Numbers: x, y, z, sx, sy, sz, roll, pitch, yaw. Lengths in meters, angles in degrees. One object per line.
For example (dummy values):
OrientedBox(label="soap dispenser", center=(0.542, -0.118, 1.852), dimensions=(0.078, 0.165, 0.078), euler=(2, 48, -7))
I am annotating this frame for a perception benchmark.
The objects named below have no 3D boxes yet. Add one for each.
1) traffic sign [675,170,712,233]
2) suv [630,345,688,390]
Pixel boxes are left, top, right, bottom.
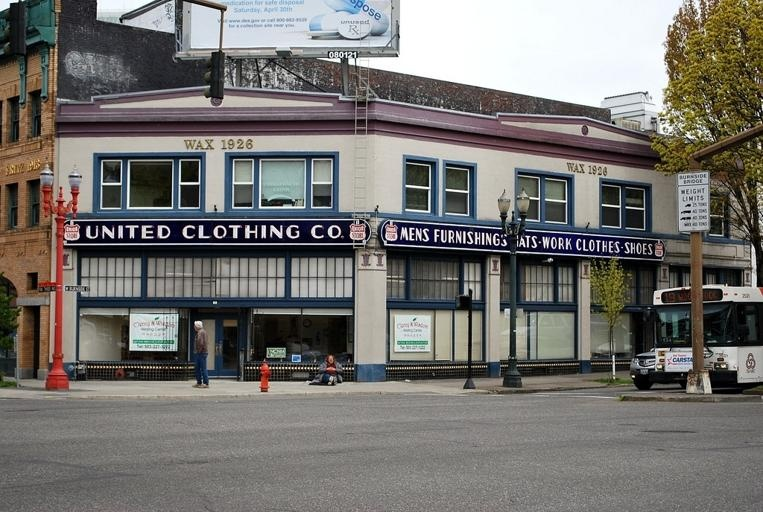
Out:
OrientedBox(label="traffic sign", center=(11.489, -1.950, 45.811), dimensions=(1.131, 2.265, 0.589), euler=(-2, -2, 18))
OrientedBox(label="suv", center=(10.581, 4.522, 49.514), dimensions=(1.187, 1.157, 2.410), euler=(-9, -17, 33))
